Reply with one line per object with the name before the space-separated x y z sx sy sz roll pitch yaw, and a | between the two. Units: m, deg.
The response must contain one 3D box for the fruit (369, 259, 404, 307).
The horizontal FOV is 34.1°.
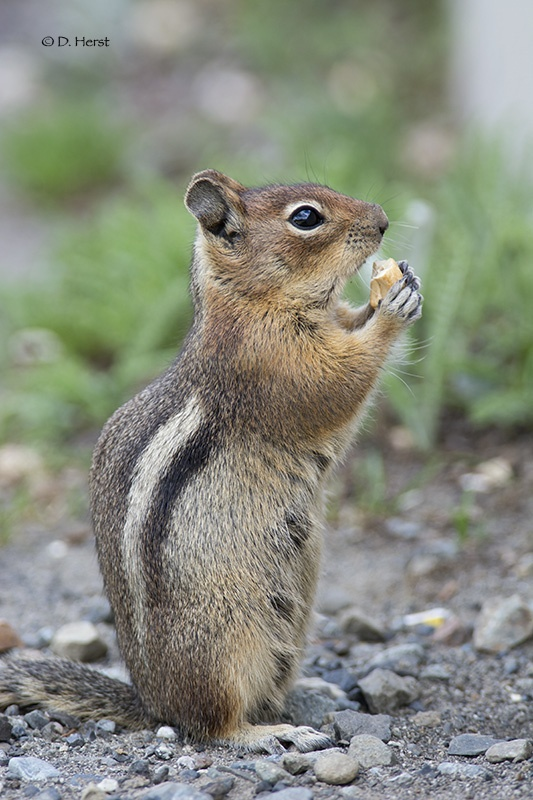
fruit | 0.430 -0.439 3.201 0.051 0.156 0.165 14 -8 -9
